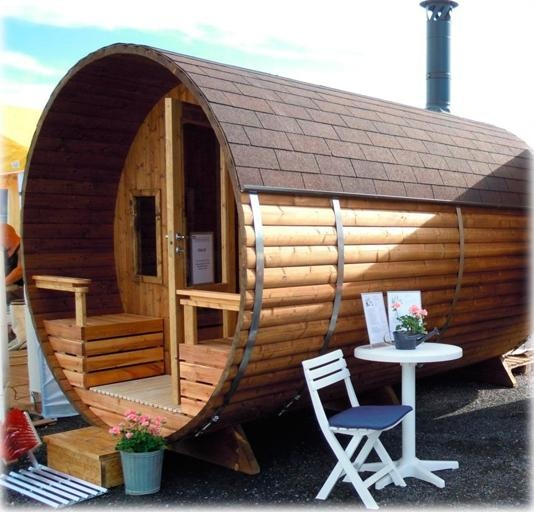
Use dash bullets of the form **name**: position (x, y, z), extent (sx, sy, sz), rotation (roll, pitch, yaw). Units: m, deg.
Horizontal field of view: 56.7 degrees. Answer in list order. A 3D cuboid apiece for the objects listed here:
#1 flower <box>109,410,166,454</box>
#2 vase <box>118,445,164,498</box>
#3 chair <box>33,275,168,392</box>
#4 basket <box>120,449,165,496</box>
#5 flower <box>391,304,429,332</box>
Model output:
- **flower**: position (-0.879, 1.238, 3.485), extent (0.432, 0.266, 0.368), rotation (3, -5, -2)
- **vase**: position (-0.843, 1.467, 3.349), extent (0.399, 0.224, 0.310), rotation (-2, -5, 11)
- **chair**: position (-1.695, 0.713, 5.211), extent (1.245, 0.940, 1.298), rotation (-2, 0, 40)
- **basket**: position (-0.855, 1.464, 3.369), extent (0.275, 0.314, 0.189), rotation (0, -4, -14)
- **flower**: position (1.131, 0.485, 3.823), extent (0.301, 0.198, 0.282), rotation (-1, 2, 29)
